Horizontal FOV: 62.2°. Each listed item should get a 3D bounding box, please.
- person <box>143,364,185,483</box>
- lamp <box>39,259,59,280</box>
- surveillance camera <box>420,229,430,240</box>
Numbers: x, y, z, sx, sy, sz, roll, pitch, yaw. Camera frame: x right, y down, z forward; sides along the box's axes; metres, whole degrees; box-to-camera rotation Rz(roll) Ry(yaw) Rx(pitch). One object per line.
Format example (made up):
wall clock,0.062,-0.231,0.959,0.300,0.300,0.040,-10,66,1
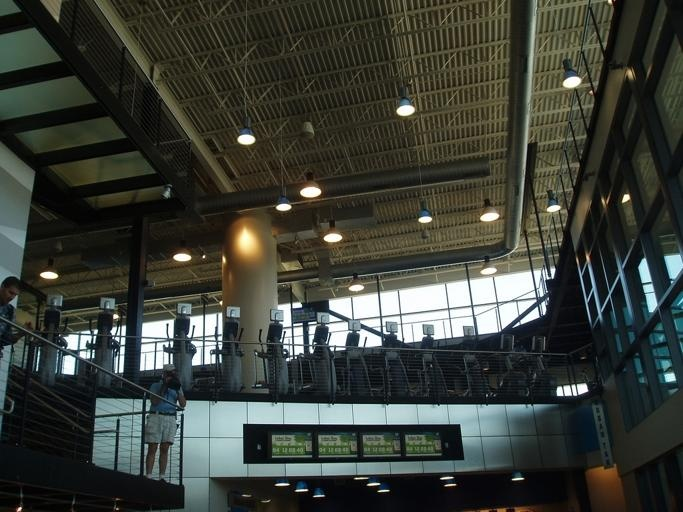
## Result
person,-2.956,2.710,9.369,0.563,1.882,0.790,-7,-26,8
lamp,-8.256,0.330,16.076,0.368,0.683,0.698,13,-30,-30
surveillance camera,2.775,-0.746,18.863,0.227,0.238,0.318,0,-36,5
